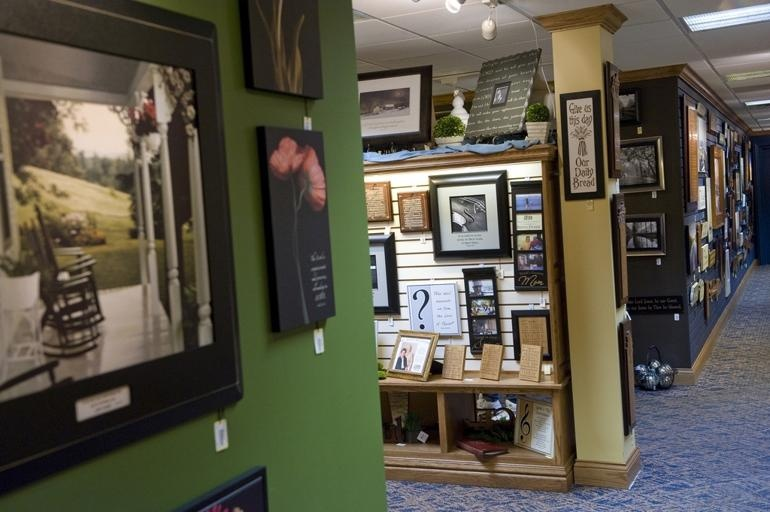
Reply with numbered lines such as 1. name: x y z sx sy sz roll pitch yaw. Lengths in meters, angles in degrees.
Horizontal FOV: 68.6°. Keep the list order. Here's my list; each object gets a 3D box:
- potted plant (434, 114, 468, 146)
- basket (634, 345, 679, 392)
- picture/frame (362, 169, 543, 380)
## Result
1. potted plant: 0.579 -1.111 4.970 0.249 0.263 0.255 -1 0 -2
2. basket: 3.258 1.349 6.808 0.417 0.464 0.471 -2 3 29
3. picture/frame: 0.616 0.134 4.586 1.719 1.796 0.156 -1 0 19
